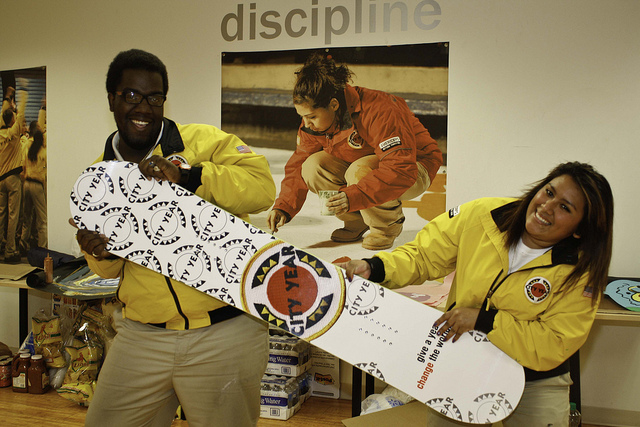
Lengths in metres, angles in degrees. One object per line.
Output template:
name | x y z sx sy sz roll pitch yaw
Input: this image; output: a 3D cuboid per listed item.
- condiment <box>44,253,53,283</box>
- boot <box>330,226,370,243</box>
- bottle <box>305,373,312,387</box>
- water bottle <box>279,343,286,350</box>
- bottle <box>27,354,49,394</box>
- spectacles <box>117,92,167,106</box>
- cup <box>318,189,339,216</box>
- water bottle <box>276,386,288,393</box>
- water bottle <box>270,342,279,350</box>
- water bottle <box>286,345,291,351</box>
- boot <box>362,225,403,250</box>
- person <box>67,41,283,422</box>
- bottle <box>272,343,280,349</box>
condiment | -2.226 0.468 4.828 0.062 0.189 0.069 1 4 -24
boot | 0.247 0.168 4.874 0.299 0.139 0.122 -7 20 -3
bottle | -0.100 1.391 4.915 0.025 0.085 0.084 7 13 -12
water bottle | -0.303 1.068 4.738 0.046 0.044 0.012 4 -19 21
bottle | -2.352 1.339 4.915 0.163 0.318 0.085 1 4 -26
spectacles | -1.013 -0.646 3.335 0.262 0.072 0.067 2 4 -16
cup | 0.033 -0.097 4.895 0.190 0.219 0.189 1 1 0
water bottle | -0.303 1.379 4.635 0.047 0.046 0.011 20 -5 9
water bottle | -0.379 1.069 4.754 0.050 0.049 0.012 -1 -10 20
water bottle | -0.259 1.072 4.724 0.043 0.014 0.059 -1 -1 -2
boot | 0.506 0.194 4.840 0.294 0.129 0.141 -7 23 -10
person | -0.836 0.131 3.402 1.118 2.087 0.447 3 4 1
bottle | -0.367 1.064 4.734 0.034 0.034 0.009 6 -19 24
